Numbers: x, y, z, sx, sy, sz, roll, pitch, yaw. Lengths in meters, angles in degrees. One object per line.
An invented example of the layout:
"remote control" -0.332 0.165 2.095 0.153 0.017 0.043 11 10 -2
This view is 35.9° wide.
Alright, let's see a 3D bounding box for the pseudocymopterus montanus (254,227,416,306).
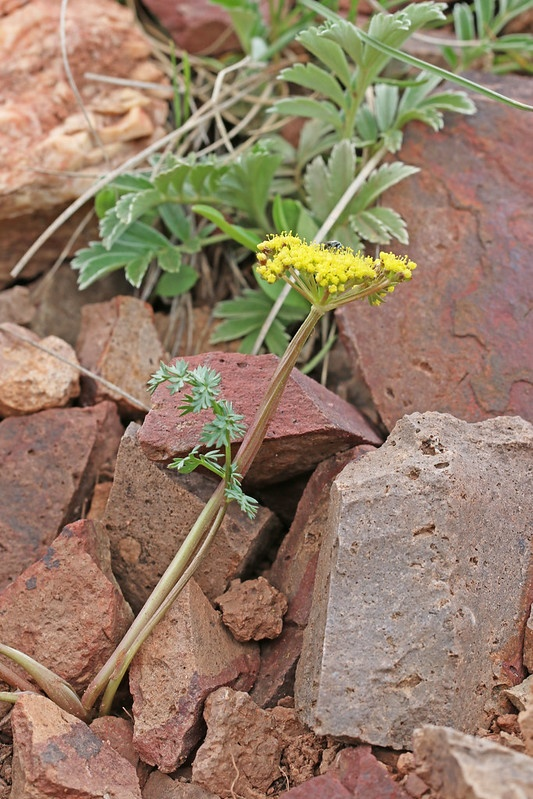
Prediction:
"pseudocymopterus montanus" 0.151 -0.304 1.939 0.257 0.111 0.249 19 15 10
